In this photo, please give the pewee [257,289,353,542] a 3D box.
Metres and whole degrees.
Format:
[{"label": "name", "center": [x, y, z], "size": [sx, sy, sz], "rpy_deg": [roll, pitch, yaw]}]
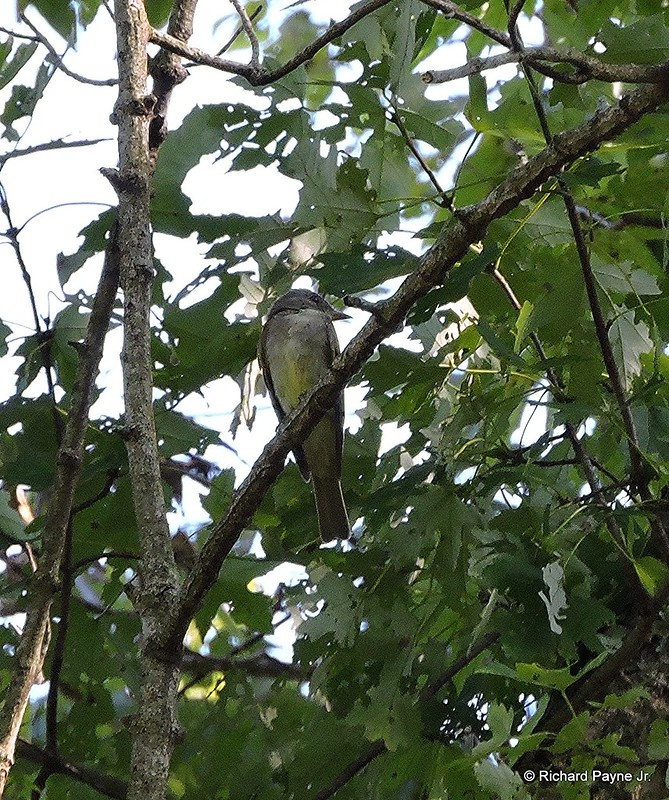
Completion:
[{"label": "pewee", "center": [-0.114, 0.019, 3.830], "size": [0.330, 1.031, 0.350], "rpy_deg": [-5, -1, -35]}]
